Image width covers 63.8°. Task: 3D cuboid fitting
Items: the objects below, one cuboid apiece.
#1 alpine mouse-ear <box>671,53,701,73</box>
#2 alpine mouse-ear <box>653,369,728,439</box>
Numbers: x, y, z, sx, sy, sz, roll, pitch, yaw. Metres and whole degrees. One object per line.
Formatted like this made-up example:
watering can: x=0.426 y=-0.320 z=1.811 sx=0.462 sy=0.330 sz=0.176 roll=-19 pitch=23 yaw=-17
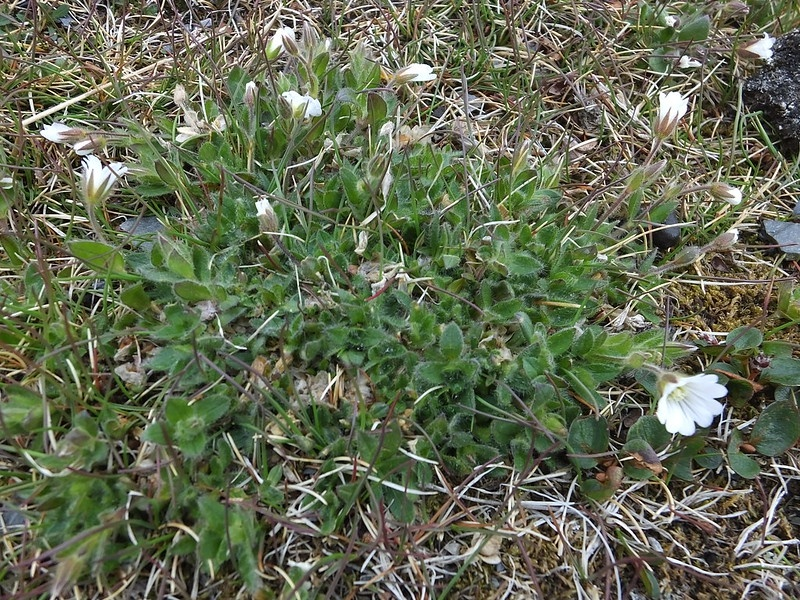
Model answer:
alpine mouse-ear: x=1.358 y=-1.113 z=3.022 sx=0.108 sy=0.148 sz=0.065 roll=12 pitch=93 yaw=16
alpine mouse-ear: x=0.959 y=0.340 z=2.183 sx=0.217 sy=0.099 sz=0.213 roll=-43 pitch=95 yaw=12
